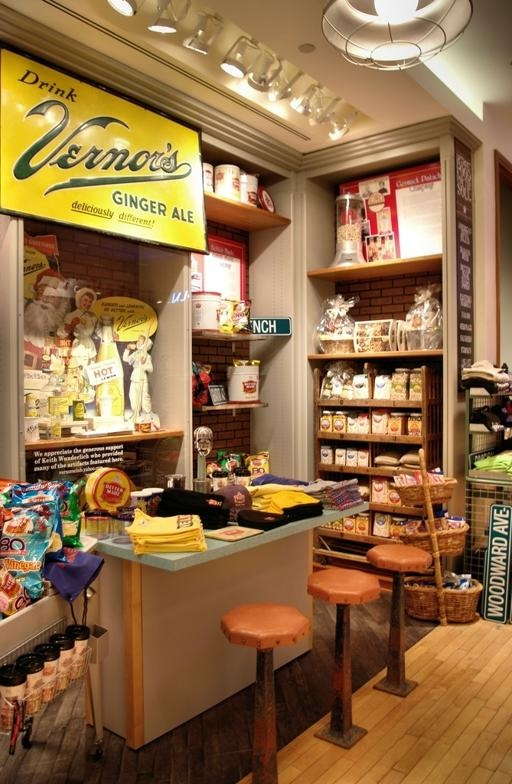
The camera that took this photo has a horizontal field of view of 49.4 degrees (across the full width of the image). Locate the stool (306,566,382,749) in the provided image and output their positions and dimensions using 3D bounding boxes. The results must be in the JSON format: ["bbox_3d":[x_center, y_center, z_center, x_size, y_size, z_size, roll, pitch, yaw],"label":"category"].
[{"bbox_3d":[0.318,0.946,2.024,0.264,0.554,0.362,-1,-4,31],"label":"stool"}]

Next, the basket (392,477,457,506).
[{"bbox_3d":[0.965,0.591,3.230,0.328,0.190,0.290,4,-5,-37],"label":"basket"}]

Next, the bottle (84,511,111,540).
[{"bbox_3d":[-0.574,0.466,1.973,0.082,0.083,0.085,0,-3,20],"label":"bottle"}]

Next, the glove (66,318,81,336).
[{"bbox_3d":[-0.821,-0.296,2.483,0.015,0.099,0.088,-1,-4,22],"label":"glove"}]

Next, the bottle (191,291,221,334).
[{"bbox_3d":[-0.301,-0.466,3.268,0.199,0.215,0.207,0,0,-2],"label":"bottle"}]

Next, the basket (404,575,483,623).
[{"bbox_3d":[1.050,1.151,3.164,0.308,0.142,0.248,-2,-3,29],"label":"basket"}]

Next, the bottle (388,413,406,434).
[{"bbox_3d":[0.905,0.206,3.613,0.116,0.139,0.074,0,-4,10],"label":"bottle"}]

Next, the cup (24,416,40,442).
[{"bbox_3d":[-0.909,0.151,2.241,0.076,0.076,0.075,1,4,0],"label":"cup"}]

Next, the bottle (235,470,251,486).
[{"bbox_3d":[-0.060,0.390,2.527,0.057,0.067,0.062,0,0,-1],"label":"bottle"}]

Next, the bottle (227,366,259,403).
[{"bbox_3d":[-0.085,-0.059,3.814,0.223,0.254,0.230,0,1,-2],"label":"bottle"}]

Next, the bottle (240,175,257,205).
[{"bbox_3d":[-0.056,-1.326,3.643,0.122,0.183,0.049,3,-4,-25],"label":"bottle"}]

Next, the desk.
[{"bbox_3d":[-0.148,0.789,1.977,0.824,0.533,0.848,1,2,39],"label":"desk"}]

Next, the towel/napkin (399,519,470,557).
[{"bbox_3d":[0.987,0.806,3.096,0.268,0.148,0.339,-4,-9,11],"label":"towel/napkin"}]

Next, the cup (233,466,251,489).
[{"bbox_3d":[-0.065,0.384,2.525,0.075,0.129,0.074,1,3,0],"label":"cup"}]

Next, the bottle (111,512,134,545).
[{"bbox_3d":[-0.440,0.443,1.875,0.093,0.117,0.095,1,3,0],"label":"bottle"}]

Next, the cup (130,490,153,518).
[{"bbox_3d":[-0.395,0.392,1.921,0.059,0.077,0.075,1,-1,0],"label":"cup"}]

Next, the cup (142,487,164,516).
[{"bbox_3d":[-0.361,0.382,1.941,0.053,0.083,0.087,1,-5,-5],"label":"cup"}]
